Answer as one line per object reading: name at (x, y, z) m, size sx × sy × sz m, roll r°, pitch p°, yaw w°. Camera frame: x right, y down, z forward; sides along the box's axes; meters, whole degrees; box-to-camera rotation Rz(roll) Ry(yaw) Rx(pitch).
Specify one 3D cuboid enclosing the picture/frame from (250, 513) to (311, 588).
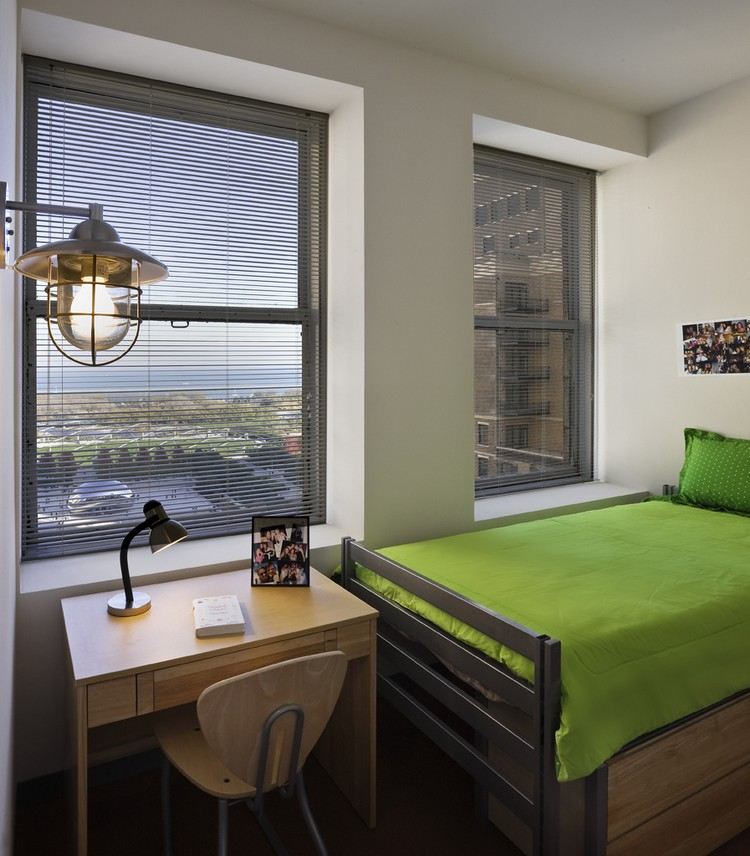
picture/frame at (-0.305, 0.399, 2.219) m, size 0.239 × 0.275 × 0.011 m, roll 0°, pitch -4°, yaw -7°

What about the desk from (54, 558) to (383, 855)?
desk at (-0.491, 0.612, 2.112) m, size 0.988 × 0.779 × 0.644 m, roll -1°, pitch 0°, yaw -30°

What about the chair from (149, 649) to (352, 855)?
chair at (-0.326, 0.838, 1.759) m, size 0.352 × 0.663 × 0.449 m, roll -6°, pitch 8°, yaw -33°
